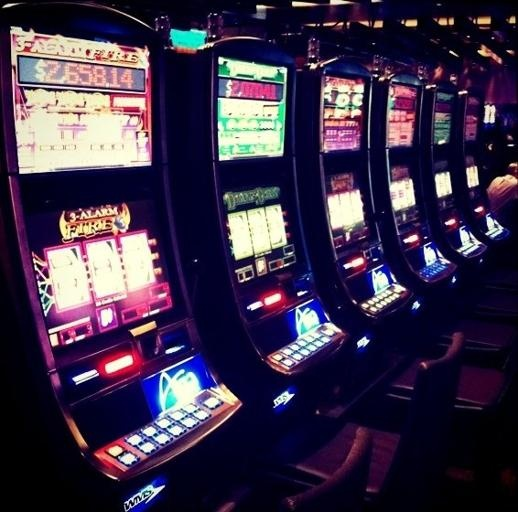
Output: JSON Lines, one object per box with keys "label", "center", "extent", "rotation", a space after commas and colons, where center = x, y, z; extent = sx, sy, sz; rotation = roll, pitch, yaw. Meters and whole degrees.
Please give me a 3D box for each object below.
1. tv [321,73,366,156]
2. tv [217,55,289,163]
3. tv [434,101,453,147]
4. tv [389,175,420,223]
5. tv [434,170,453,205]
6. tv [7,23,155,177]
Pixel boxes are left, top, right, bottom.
{"label": "tv", "center": [0.592, -1.034, 3.256], "extent": [0.212, 0.681, 0.594], "rotation": [3, 5, 28]}
{"label": "tv", "center": [-0.048, -0.829, 2.512], "extent": [0.191, 0.562, 0.568], "rotation": [7, 11, 32]}
{"label": "tv", "center": [2.057, -1.498, 5.102], "extent": [0.237, 0.481, 0.479], "rotation": [3, 11, 22]}
{"label": "tv", "center": [1.408, -0.589, 4.383], "extent": [0.154, 0.567, 0.586], "rotation": [1, 14, 33]}
{"label": "tv", "center": [2.155, -0.835, 5.297], "extent": [0.108, 0.301, 0.565], "rotation": [1, 14, 31]}
{"label": "tv", "center": [-0.689, -0.604, 1.718], "extent": [0.078, 0.471, 0.598], "rotation": [11, 18, 35]}
